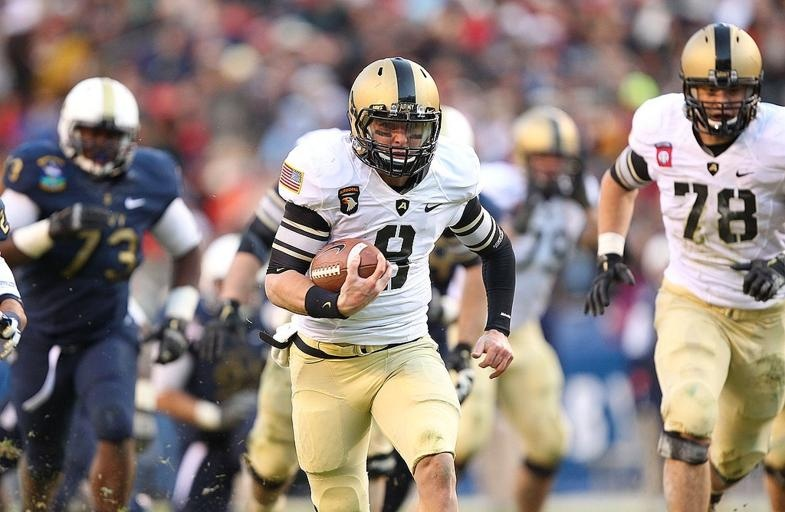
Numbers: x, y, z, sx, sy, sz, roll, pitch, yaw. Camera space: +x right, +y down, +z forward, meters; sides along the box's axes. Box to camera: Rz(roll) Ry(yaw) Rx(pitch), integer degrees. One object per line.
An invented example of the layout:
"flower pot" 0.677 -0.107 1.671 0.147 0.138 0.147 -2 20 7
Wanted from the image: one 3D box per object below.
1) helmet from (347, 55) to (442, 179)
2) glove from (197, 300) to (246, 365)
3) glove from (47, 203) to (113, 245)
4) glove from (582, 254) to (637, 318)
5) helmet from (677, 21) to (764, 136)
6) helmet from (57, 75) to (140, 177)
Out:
"helmet" 0.000 -0.787 5.254 0.468 0.609 0.645 1 19 -10
"glove" -1.156 0.579 6.487 0.270 0.466 0.933 8 -23 -8
"glove" -1.978 -0.212 6.022 0.358 0.259 0.155 13 -24 -18
"glove" 1.306 0.157 5.839 0.267 0.432 0.253 2 -23 8
"helmet" 1.949 -1.060 5.712 0.433 0.613 0.627 -1 16 14
"helmet" -1.893 -0.857 6.255 0.466 0.595 0.587 7 -6 -36
